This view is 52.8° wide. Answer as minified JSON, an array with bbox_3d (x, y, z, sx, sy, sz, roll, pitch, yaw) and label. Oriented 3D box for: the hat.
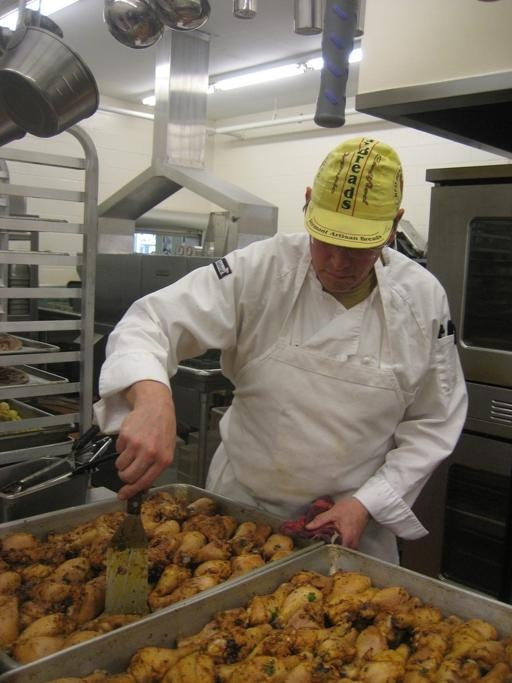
[{"bbox_3d":[0.196,-0.312,1.015,0.193,0.131,0.285,11,45,8],"label":"hat"}]
